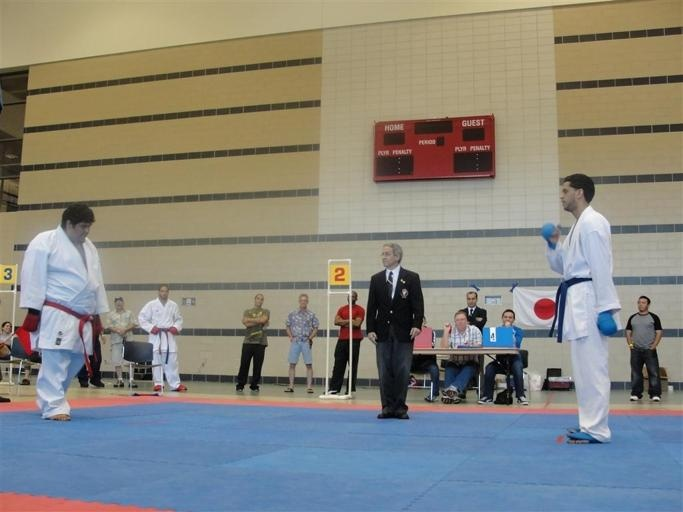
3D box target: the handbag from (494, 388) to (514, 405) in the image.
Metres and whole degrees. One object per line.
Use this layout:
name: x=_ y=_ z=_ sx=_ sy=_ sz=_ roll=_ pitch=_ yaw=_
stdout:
handbag: x=3.405 y=2.899 z=21.495 sx=0.419 sy=0.405 sz=0.265 roll=-3 pitch=-7 yaw=30

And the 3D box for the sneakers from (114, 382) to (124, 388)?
sneakers: x=-5.310 y=3.045 z=24.568 sx=0.152 sy=0.130 sz=0.316 roll=4 pitch=-13 yaw=-26

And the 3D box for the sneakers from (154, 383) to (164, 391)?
sneakers: x=-3.929 y=2.805 z=22.167 sx=0.124 sy=0.142 sz=0.342 roll=6 pitch=-18 yaw=-26

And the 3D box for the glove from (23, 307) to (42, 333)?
glove: x=-5.297 y=1.084 z=17.624 sx=0.295 sy=0.393 sz=0.203 roll=3 pitch=-12 yaw=-16

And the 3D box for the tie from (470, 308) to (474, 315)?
tie: x=2.910 y=1.230 z=23.046 sx=0.031 sy=0.122 sz=0.126 roll=19 pitch=-20 yaw=-36

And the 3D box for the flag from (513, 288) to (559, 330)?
flag: x=4.485 y=1.196 z=23.758 sx=1.238 sy=1.031 sz=0.177 roll=2 pitch=0 yaw=11

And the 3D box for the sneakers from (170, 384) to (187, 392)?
sneakers: x=-3.672 y=2.947 z=23.166 sx=0.424 sy=0.163 sz=0.154 roll=-8 pitch=-9 yaw=20

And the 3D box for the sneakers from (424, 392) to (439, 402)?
sneakers: x=1.953 y=3.031 z=22.194 sx=0.142 sy=0.167 sz=0.383 roll=-3 pitch=-14 yaw=15

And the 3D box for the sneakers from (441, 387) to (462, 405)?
sneakers: x=2.313 y=2.880 z=21.564 sx=0.187 sy=0.261 sz=0.419 roll=3 pitch=8 yaw=36

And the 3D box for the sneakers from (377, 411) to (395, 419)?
sneakers: x=0.783 y=2.814 z=18.410 sx=0.250 sy=0.236 sz=0.132 roll=-2 pitch=-6 yaw=42

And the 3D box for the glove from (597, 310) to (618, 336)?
glove: x=4.156 y=1.014 z=16.080 sx=0.384 sy=0.504 sz=0.285 roll=-5 pitch=1 yaw=17

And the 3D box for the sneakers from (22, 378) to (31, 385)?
sneakers: x=-7.359 y=2.902 z=23.990 sx=0.126 sy=0.130 sz=0.337 roll=2 pitch=-13 yaw=-12

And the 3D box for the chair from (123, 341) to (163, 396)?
chair: x=-4.427 y=2.478 z=23.041 sx=0.947 sy=1.538 sz=0.960 roll=5 pitch=-19 yaw=-26

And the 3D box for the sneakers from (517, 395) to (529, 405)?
sneakers: x=3.733 y=2.946 z=21.178 sx=0.111 sy=0.116 sz=0.294 roll=1 pitch=-12 yaw=-6

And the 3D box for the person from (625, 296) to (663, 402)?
person: x=6.619 y=1.974 z=22.491 sx=0.727 sy=2.319 sz=0.862 roll=-3 pitch=-12 yaw=15

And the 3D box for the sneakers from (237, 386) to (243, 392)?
sneakers: x=-2.322 y=3.011 z=23.509 sx=0.099 sy=0.079 sz=0.116 roll=1 pitch=-19 yaw=-4

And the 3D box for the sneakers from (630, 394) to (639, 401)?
sneakers: x=6.246 y=2.986 z=21.904 sx=0.194 sy=0.145 sz=0.342 roll=-3 pitch=-12 yaw=16

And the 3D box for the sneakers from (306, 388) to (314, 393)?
sneakers: x=-0.737 y=3.091 z=23.892 sx=0.118 sy=0.125 sz=0.360 roll=0 pitch=-11 yaw=-5

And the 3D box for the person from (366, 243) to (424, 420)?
person: x=0.968 y=1.329 z=18.534 sx=1.012 sy=3.091 sz=0.608 roll=-3 pitch=-12 yaw=13
